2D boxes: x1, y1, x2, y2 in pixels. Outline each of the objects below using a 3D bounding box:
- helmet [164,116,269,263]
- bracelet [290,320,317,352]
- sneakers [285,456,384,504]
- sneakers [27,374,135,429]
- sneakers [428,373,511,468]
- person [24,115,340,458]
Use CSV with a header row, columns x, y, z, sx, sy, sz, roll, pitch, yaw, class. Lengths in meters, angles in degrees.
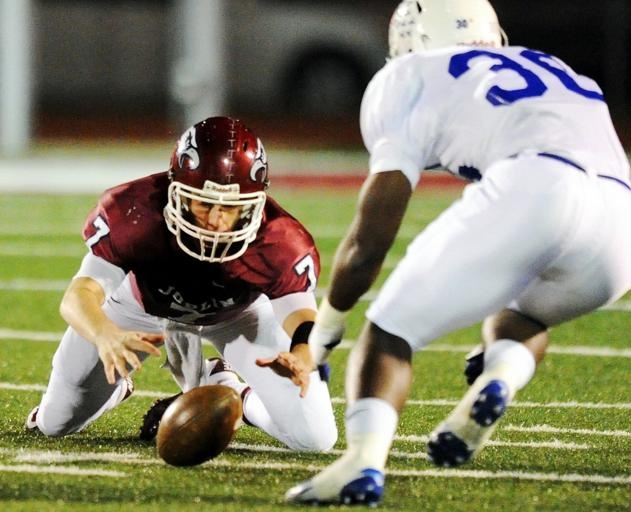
x,y,z,sx,sy,sz,roll,pitch,yaw,class
-0.284,-0.175,2.410,0.268,0.347,0.284,5,32,-6,helmet
-0.046,0.213,2.382,0.087,0.059,0.064,-1,-15,19,bracelet
0.048,0.471,1.833,0.243,0.074,0.096,0,70,13,sneakers
-0.698,0.434,2.566,0.324,0.091,0.122,-26,-2,-19,sneakers
0.329,0.369,1.901,0.125,0.241,0.143,21,34,17,sneakers
-0.360,0.070,2.442,0.782,0.740,1.134,2,1,-18,person
